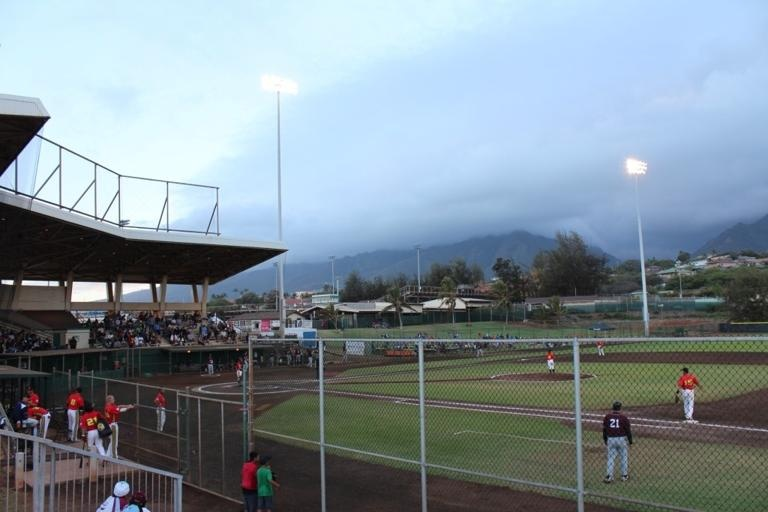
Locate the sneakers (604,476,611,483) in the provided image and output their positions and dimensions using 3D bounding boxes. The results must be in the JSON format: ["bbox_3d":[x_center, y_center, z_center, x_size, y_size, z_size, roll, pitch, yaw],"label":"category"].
[{"bbox_3d":[4.838,4.807,13.116,0.115,0.071,0.165,-13,-14,25],"label":"sneakers"}]

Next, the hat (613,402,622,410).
[{"bbox_3d":[4.965,3.194,12.990,0.160,0.185,0.195,3,12,12],"label":"hat"}]

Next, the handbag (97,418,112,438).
[{"bbox_3d":[-9.714,5.964,21.043,0.420,0.603,0.481,-1,-8,-26],"label":"handbag"}]

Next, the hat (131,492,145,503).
[{"bbox_3d":[-5.450,5.344,13.449,0.199,0.245,0.251,3,-2,-5],"label":"hat"}]

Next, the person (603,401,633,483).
[{"bbox_3d":[4.964,3.962,12.925,0.672,1.737,0.643,-7,-7,14],"label":"person"}]
